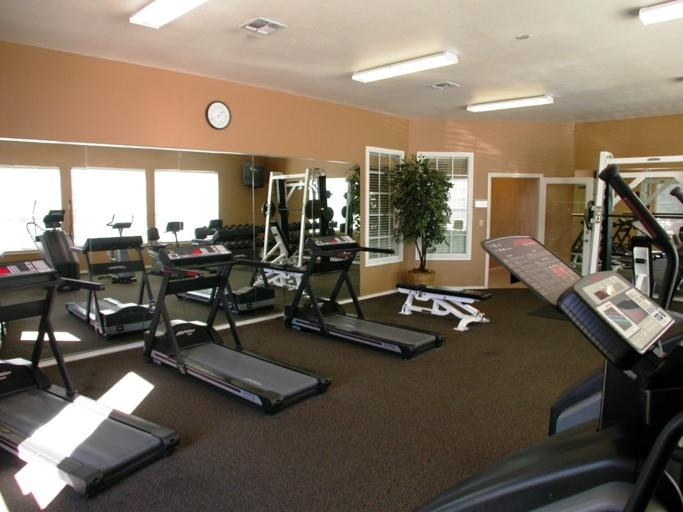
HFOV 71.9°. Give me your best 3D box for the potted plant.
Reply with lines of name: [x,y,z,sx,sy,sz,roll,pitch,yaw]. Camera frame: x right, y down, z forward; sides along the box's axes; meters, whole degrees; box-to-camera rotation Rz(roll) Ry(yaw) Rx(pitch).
potted plant: [1.446,-0.708,8.536,0.968,2.462,0.748,11,11,37]

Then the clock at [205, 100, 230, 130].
clock: [-1.656,-1.864,6.201,0.421,0.374,0.061,-12,10,-42]

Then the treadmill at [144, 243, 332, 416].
treadmill: [-1.157,0.605,4.696,2.125,1.190,0.857,6,10,43]
